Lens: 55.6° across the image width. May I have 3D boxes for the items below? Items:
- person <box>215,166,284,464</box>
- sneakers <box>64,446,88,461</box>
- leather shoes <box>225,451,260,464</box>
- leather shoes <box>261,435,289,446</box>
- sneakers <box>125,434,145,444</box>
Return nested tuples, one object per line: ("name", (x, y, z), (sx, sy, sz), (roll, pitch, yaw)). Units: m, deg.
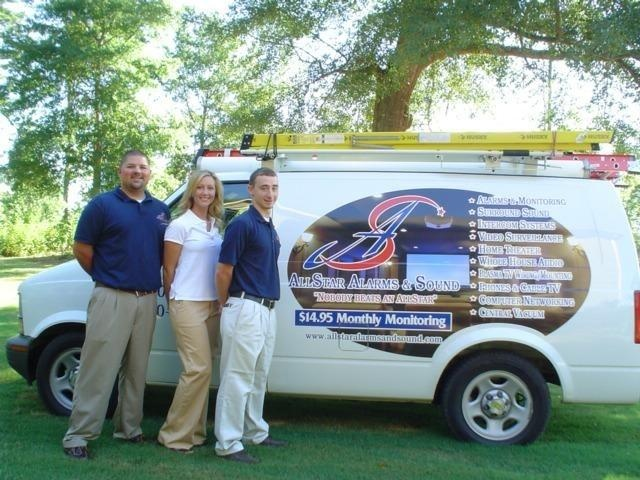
("person", (-0.708, 0.700, 6.033), (0.503, 2.840, 0.615), (3, 4, 23))
("sneakers", (-2.327, 2.054, 5.841), (0.264, 0.092, 0.108), (1, 2, -6))
("leather shoes", (-0.747, 2.112, 5.927), (0.330, 0.131, 0.109), (0, -3, 6))
("leather shoes", (-0.459, 2.071, 6.262), (0.286, 0.107, 0.095), (-1, -3, 0))
("sneakers", (-1.882, 2.041, 6.210), (0.200, 0.080, 0.066), (10, -25, -3))
